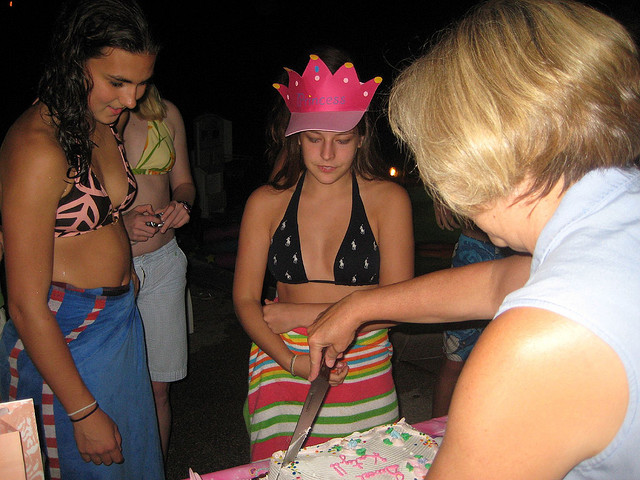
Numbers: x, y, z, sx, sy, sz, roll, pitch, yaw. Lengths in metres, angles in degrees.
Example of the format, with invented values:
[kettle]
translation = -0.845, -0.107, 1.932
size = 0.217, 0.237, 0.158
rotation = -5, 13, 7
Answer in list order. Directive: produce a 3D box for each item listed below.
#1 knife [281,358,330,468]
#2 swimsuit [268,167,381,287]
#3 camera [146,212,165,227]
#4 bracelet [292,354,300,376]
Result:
[knife]
translation = -0.021, 0.508, 1.672
size = 0.066, 0.025, 0.515
rotation = -8, 30, 26
[swimsuit]
translation = 0.006, -0.052, 2.426
size = 0.496, 0.474, 0.287
rotation = -2, 15, -7
[camera]
translation = -0.842, -0.094, 2.732
size = 0.074, 0.054, 0.020
rotation = -34, -11, -18
[bracelet]
translation = -0.103, 0.507, 2.172
size = 0.019, 0.083, 0.039
rotation = 2, 14, 9
